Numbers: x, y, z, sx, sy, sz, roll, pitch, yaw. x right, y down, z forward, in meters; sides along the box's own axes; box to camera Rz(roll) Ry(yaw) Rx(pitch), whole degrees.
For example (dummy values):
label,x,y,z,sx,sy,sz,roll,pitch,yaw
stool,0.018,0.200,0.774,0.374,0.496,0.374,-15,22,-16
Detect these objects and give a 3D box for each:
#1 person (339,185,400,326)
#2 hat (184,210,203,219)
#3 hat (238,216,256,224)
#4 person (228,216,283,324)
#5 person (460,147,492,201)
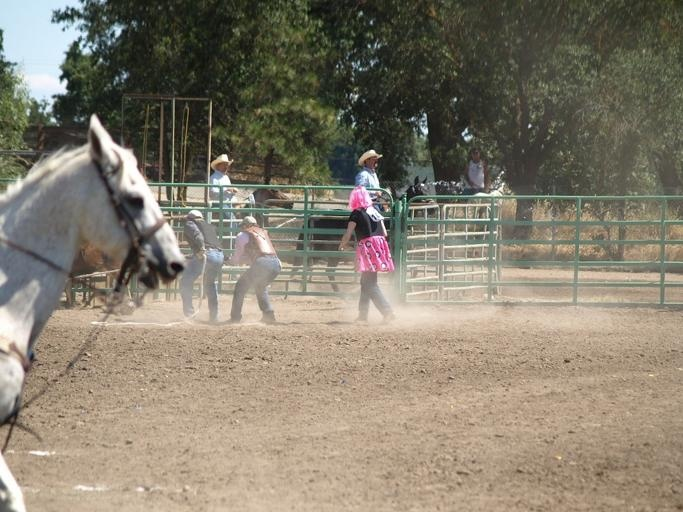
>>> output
label,x,y,z,sx,sy,sz,roll,pitch,yaw
person,0.401,-0.016,14.535,0.787,2.129,1.038,0,14,1
hat,-2.296,-0.674,14.505,0.151,0.116,0.207,-5,24,-46
hat,-1.436,-0.532,14.338,0.186,0.107,0.137,21,16,39
person,-1.335,0.239,14.333,0.784,1.632,0.547,-2,14,-6
person,3.063,-1.913,21.301,0.502,1.143,1.543,2,15,8
